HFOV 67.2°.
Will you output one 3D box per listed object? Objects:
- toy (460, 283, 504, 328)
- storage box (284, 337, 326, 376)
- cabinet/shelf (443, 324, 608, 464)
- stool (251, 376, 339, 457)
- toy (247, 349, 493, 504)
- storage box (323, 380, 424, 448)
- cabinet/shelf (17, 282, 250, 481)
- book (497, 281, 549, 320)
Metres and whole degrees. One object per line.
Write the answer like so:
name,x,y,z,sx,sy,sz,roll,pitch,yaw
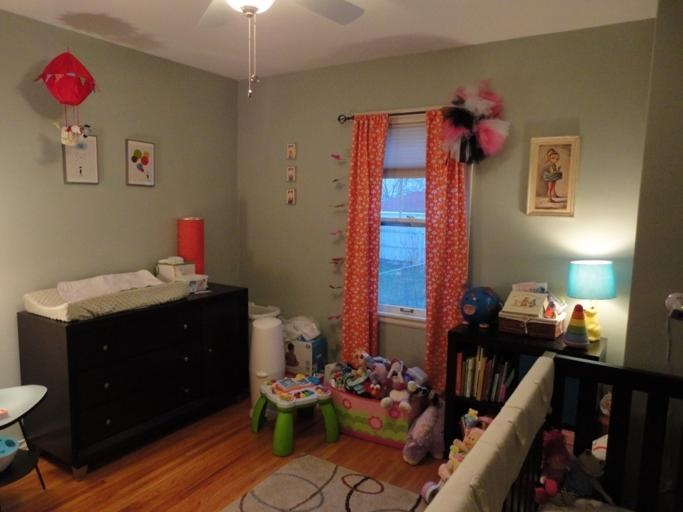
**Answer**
toy,0.974,0.339,3.562,0.256,0.220,0.256,1,1,-33
storage box,-0.325,0.859,4.474,0.303,0.284,0.169,5,10,26
cabinet/shelf,1.058,0.768,2.938,0.857,0.833,0.315,4,4,21
stool,-0.339,1.060,3.664,0.498,0.336,0.494,0,2,-36
toy,0.409,1.005,3.604,1.179,0.377,0.862,8,9,33
storage box,0.226,1.069,3.651,0.500,0.241,0.402,6,-3,22
cabinet/shelf,-1.489,0.440,3.784,0.932,1.336,1.842,5,10,34
book,1.271,0.287,3.519,0.294,0.171,0.393,6,14,24
